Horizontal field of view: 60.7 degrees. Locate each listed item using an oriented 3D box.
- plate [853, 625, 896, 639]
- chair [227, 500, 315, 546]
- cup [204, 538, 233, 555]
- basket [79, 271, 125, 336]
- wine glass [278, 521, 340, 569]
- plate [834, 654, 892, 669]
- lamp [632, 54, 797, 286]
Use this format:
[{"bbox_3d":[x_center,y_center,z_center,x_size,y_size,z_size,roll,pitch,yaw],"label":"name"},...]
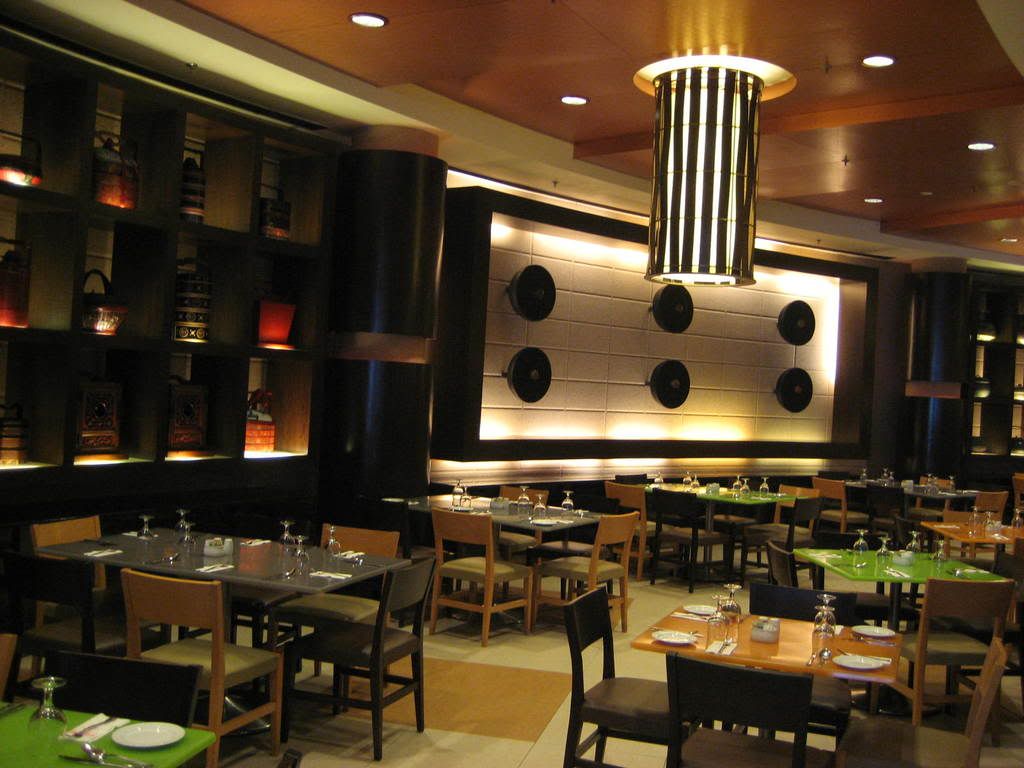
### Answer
[{"bbox_3d":[1.905,1.296,4.555,0.126,0.019,0.120,-1,1,-1],"label":"plate"},{"bbox_3d":[-1.877,1.065,6.714,0.225,0.275,0.456,1,-2,42],"label":"chair"},{"bbox_3d":[-1.756,0.974,5.260,0.163,0.108,0.086,2,-6,-20],"label":"cup"},{"bbox_3d":[-2.981,-0.609,6.395,0.279,0.511,0.769,1,3,-25],"label":"basket"},{"bbox_3d":[-1.241,1.010,5.354,0.256,0.121,0.385,1,4,-38],"label":"wine glass"},{"bbox_3d":[1.676,1.324,4.153,0.299,0.028,0.159,3,3,1],"label":"plate"},{"bbox_3d":[1.328,-1.534,6.736,1.524,1.614,1.457,4,-1,-5],"label":"lamp"}]
